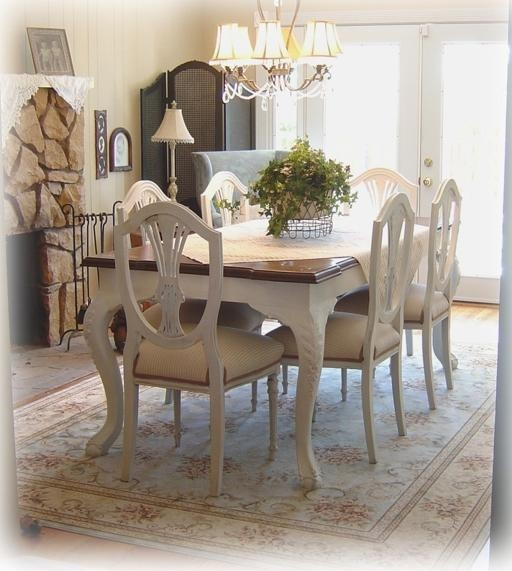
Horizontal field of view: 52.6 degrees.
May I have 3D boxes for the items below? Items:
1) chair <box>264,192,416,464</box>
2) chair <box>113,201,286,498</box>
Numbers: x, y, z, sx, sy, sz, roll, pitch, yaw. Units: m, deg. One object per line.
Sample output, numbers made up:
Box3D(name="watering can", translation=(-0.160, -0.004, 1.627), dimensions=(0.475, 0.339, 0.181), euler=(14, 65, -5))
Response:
Box3D(name="chair", translation=(0.388, 0.140, 2.199), dimensions=(0.452, 1.001, 0.496), euler=(6, 12, 34))
Box3D(name="chair", translation=(-0.195, 0.192, 1.912), dimensions=(0.526, 1.004, 0.567), euler=(2, 10, 3))
